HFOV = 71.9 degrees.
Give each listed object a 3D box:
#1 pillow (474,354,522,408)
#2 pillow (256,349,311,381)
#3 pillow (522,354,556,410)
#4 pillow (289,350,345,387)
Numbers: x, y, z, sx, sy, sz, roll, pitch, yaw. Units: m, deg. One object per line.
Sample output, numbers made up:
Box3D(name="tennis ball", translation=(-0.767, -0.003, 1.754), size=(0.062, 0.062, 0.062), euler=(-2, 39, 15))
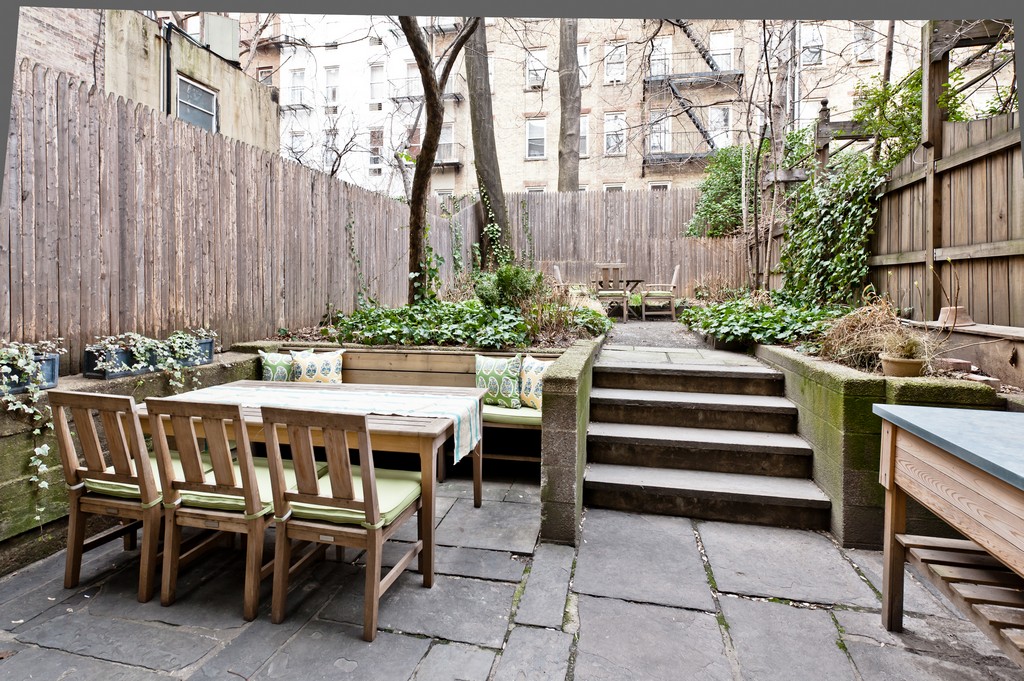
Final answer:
Box3D(name="pillow", translation=(-0.125, 0.399, 6.543), size=(0.499, 0.483, 0.183), euler=(0, -5, 19))
Box3D(name="pillow", translation=(-2.253, 0.259, 6.892), size=(0.301, 0.260, 0.111), euler=(1, -21, -19))
Box3D(name="pillow", translation=(0.219, 0.389, 6.160), size=(0.199, 0.500, 0.454), euler=(10, -2, -35))
Box3D(name="pillow", translation=(-1.917, 0.284, 6.838), size=(0.332, 0.287, 0.122), euler=(0, -18, -12))
